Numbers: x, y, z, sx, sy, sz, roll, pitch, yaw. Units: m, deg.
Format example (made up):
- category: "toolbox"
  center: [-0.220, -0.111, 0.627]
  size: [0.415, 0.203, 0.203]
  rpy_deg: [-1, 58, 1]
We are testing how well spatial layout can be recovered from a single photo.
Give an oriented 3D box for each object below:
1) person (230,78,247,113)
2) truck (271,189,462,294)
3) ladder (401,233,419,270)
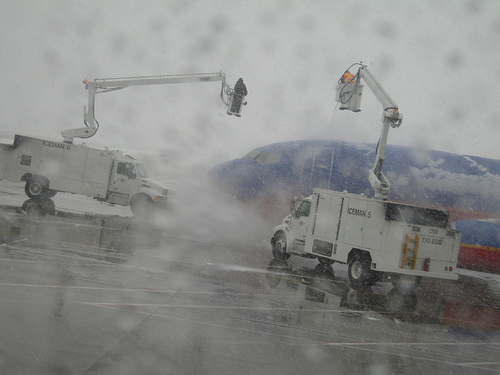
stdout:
- category: "person"
  center: [-0.513, -4.160, 22.615]
  size: [0.643, 1.523, 0.824]
  rpy_deg: [5, 5, -3]
- category: "truck"
  center: [4.393, 1.742, 19.671]
  size: [3.262, 3.279, 7.301]
  rpy_deg: [4, 6, -45]
- category: "ladder"
  center: [5.495, 2.160, 17.234]
  size: [0.618, 1.210, 0.196]
  rpy_deg: [3, 6, -29]
